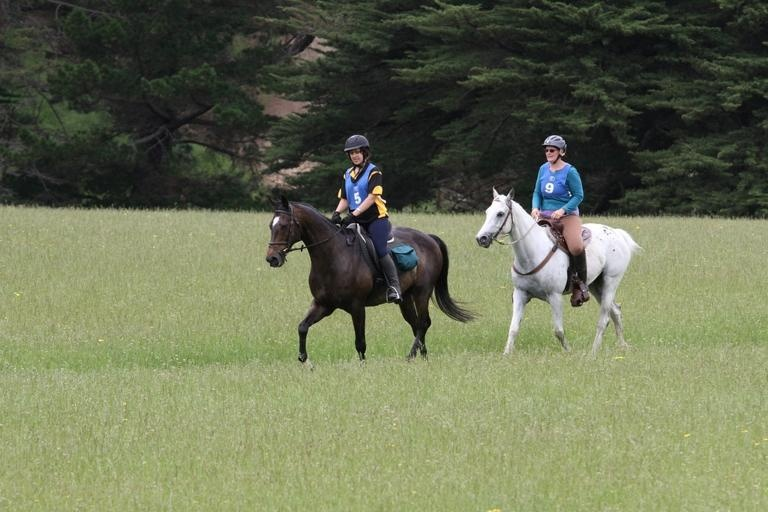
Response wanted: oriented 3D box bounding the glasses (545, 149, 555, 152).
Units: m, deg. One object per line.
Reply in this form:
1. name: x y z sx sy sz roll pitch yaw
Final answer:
1. glasses: 5.934 -3.844 53.195 0.327 0.122 0.111 4 10 17
